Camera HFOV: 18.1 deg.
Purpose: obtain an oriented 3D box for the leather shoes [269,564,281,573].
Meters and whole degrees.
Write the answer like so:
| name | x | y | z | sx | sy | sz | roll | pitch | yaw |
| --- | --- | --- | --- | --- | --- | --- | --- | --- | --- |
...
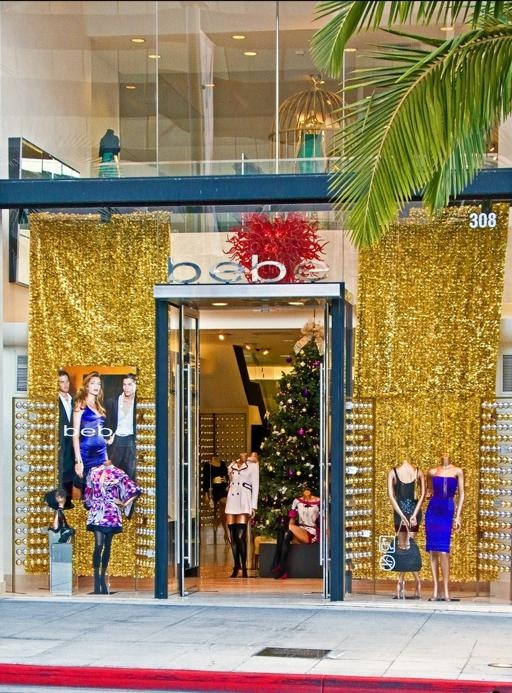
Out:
| name | x | y | z | sx | sy | sz | roll | pitch | yaw |
| --- | --- | --- | --- | --- | --- | --- | --- | --- | --- |
| leather shoes | 0.177 | 2.202 | 15.546 | 0.053 | 0.119 | 0.145 | 0 | -3 | -20 |

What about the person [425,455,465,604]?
| name | x | y | z | sx | sy | sz | roll | pitch | yaw |
| --- | --- | --- | --- | --- | --- | --- | --- | --- | --- |
| person | 1.635 | 1.616 | 14.044 | 0.347 | 1.266 | 0.421 | -1 | -3 | 7 |

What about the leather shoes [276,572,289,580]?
| name | x | y | z | sx | sy | sz | roll | pitch | yaw |
| --- | --- | --- | --- | --- | --- | --- | --- | --- | --- |
| leather shoes | 0.263 | 2.259 | 15.539 | 0.133 | 0.064 | 0.047 | -2 | -11 | 19 |

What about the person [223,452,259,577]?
| name | x | y | z | sx | sy | sz | roll | pitch | yaw |
| --- | --- | --- | --- | --- | --- | --- | --- | --- | --- |
| person | -0.135 | 1.697 | 15.916 | 0.325 | 1.208 | 0.555 | -1 | -3 | 0 |

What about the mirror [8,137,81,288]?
| name | x | y | z | sx | sy | sz | roll | pitch | yaw |
| --- | --- | --- | --- | --- | --- | --- | --- | --- | --- |
| mirror | -2.125 | -1.296 | 15.036 | 0.508 | 1.300 | 1.077 | 1 | -4 | -36 |

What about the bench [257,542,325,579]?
| name | x | y | z | sx | sy | sz | roll | pitch | yaw |
| --- | --- | --- | --- | --- | --- | --- | --- | --- | --- |
| bench | 0.317 | 2.123 | 15.594 | 0.603 | 0.346 | 0.341 | -1 | -3 | 3 |
